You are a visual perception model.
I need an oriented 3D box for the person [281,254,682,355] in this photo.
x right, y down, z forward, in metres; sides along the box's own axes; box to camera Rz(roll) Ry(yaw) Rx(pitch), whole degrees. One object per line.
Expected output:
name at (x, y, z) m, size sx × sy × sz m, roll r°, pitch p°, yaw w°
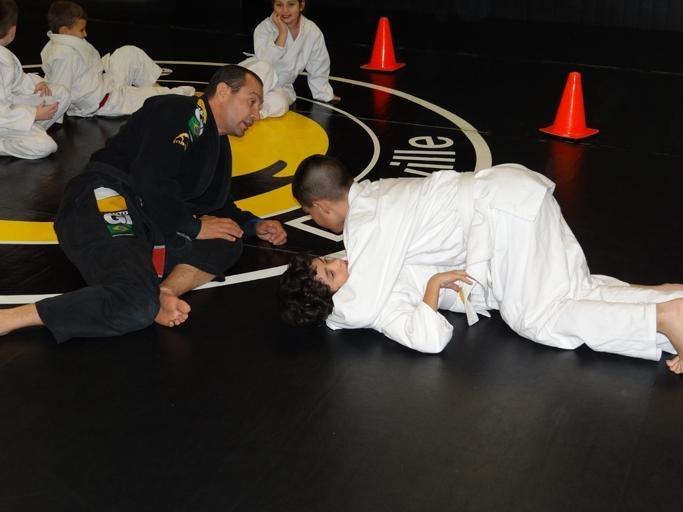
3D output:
person at (0.771, 0.333, 3.675) m, size 2.508 × 0.907 × 0.518 m, roll 2°, pitch -13°, yaw 0°
